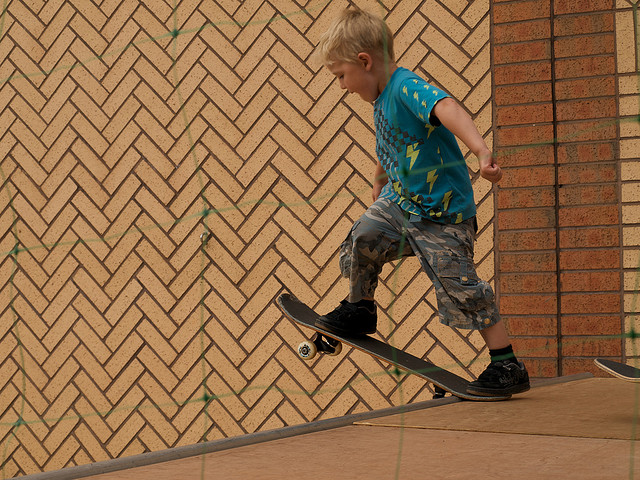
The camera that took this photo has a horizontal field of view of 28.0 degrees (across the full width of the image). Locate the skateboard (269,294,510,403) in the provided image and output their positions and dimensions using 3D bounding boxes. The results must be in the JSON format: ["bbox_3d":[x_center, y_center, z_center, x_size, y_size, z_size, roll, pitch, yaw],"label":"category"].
[{"bbox_3d":[0.417,0.571,6.743,1.278,0.206,0.292,20,17,19],"label":"skateboard"}]
